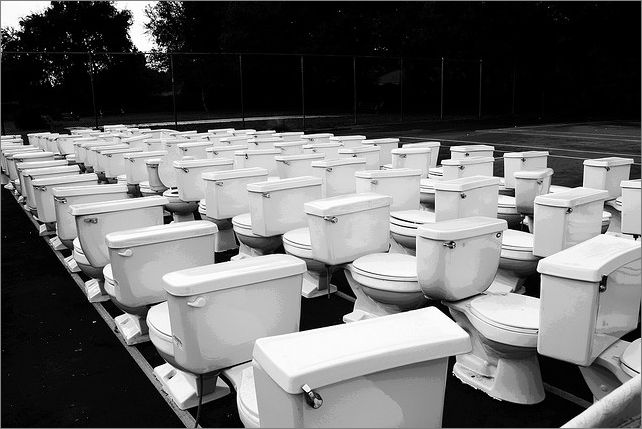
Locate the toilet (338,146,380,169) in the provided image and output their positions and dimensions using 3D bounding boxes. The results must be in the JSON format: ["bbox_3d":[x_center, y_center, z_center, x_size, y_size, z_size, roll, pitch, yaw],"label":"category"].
[{"bbox_3d":[0.618,-0.757,7.167,0.588,0.415,0.387,-10,19,-32],"label":"toilet"}]

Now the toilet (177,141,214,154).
[{"bbox_3d":[-2.189,-1.102,8.020,0.448,0.289,0.298,-4,7,-37],"label":"toilet"}]

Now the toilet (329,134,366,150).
[{"bbox_3d":[0.466,-1.395,8.773,0.409,0.381,0.598,-7,10,-40],"label":"toilet"}]

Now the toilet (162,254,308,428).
[{"bbox_3d":[-0.519,0.635,3.105,1.160,1.082,0.617,-9,16,-35],"label":"toilet"}]

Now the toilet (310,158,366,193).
[{"bbox_3d":[0.214,-0.513,5.970,0.653,0.584,0.448,-8,12,-33],"label":"toilet"}]

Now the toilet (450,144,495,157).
[{"bbox_3d":[2.264,-0.935,7.032,0.601,0.198,0.695,6,21,28],"label":"toilet"}]

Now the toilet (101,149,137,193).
[{"bbox_3d":[-3.509,-0.851,7.835,0.408,0.664,0.688,10,13,42],"label":"toilet"}]

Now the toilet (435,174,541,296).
[{"bbox_3d":[1.929,0.100,4.725,0.840,1.127,1.226,-13,18,-39],"label":"toilet"}]

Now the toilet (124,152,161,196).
[{"bbox_3d":[-2.711,-0.635,7.035,0.255,0.560,0.647,22,33,40],"label":"toilet"}]

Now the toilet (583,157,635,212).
[{"bbox_3d":[3.296,-0.332,5.287,0.585,0.416,0.350,-11,22,-28],"label":"toilet"}]

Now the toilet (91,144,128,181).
[{"bbox_3d":[-3.690,-0.880,7.977,0.668,0.493,0.584,-4,8,-43],"label":"toilet"}]

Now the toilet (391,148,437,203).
[{"bbox_3d":[1.354,-0.706,6.650,0.598,0.577,0.435,-5,13,-24],"label":"toilet"}]

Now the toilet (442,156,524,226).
[{"bbox_3d":[1.784,-0.251,5.091,0.786,0.531,0.508,-10,19,-27],"label":"toilet"}]

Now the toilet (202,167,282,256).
[{"bbox_3d":[-0.910,-0.050,5.255,0.887,1.053,0.399,-16,33,-32],"label":"toilet"}]

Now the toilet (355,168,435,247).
[{"bbox_3d":[0.724,-0.064,4.733,0.833,0.908,0.505,-6,16,-18],"label":"toilet"}]
